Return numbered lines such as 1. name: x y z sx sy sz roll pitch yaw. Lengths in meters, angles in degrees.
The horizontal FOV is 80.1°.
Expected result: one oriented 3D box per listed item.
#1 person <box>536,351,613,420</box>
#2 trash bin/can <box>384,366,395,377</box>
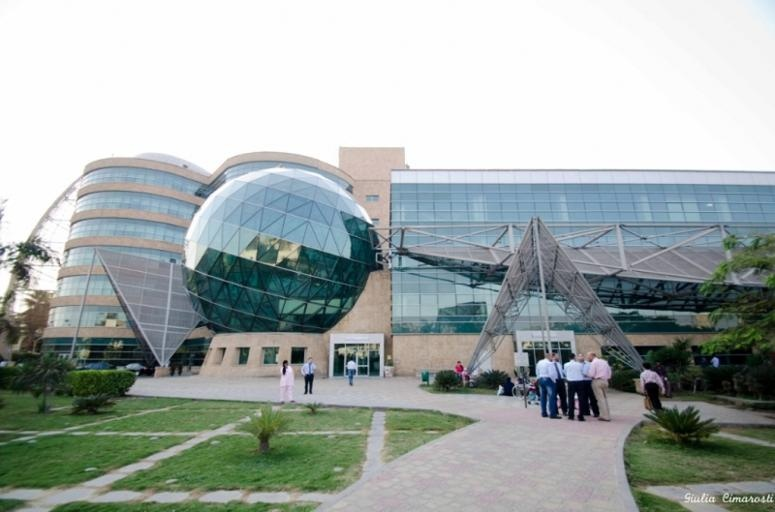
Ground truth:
1. person: 7.852 5.261 18.410 1.581 2.380 0.933 4 -16 -18
2. trash bin/can: 0.187 9.519 38.047 1.170 0.827 0.745 1 -1 3
